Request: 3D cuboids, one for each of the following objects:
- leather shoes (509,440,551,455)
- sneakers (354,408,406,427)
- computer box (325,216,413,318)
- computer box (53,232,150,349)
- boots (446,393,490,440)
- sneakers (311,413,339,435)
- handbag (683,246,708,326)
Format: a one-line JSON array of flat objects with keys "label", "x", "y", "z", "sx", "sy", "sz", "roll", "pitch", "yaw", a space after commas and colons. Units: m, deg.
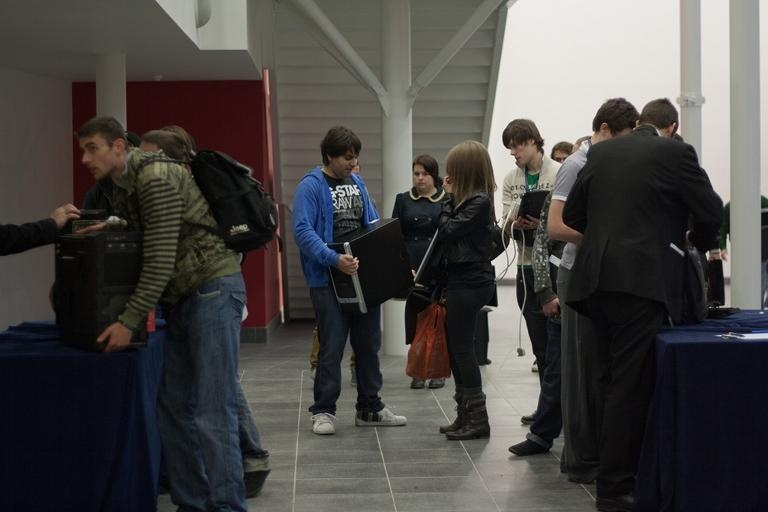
[{"label": "leather shoes", "x": 1.049, "y": 1.401, "z": 5.038, "sx": 0.306, "sy": 0.138, "sz": 0.117, "roll": 3, "pitch": -7, "yaw": -6}, {"label": "sneakers", "x": -0.028, "y": 1.344, "z": 5.801, "sx": 0.429, "sy": 0.186, "sz": 0.166, "roll": 0, "pitch": -6, "yaw": -4}, {"label": "computer box", "x": -0.053, "y": 0.052, "z": 5.693, "sx": 0.388, "sy": 0.687, "sz": 0.763, "roll": -2, "pitch": 9, "yaw": 44}, {"label": "computer box", "x": -1.625, "y": 0.176, "z": 3.958, "sx": 0.600, "sy": 0.600, "sz": 0.412, "roll": 2, "pitch": 1, "yaw": 43}, {"label": "boots", "x": 0.652, "y": 1.257, "z": 5.403, "sx": 0.352, "sy": 0.370, "sz": 0.179, "roll": -4, "pitch": 3, "yaw": -5}, {"label": "sneakers", "x": -0.485, "y": 1.341, "z": 5.536, "sx": 0.189, "sy": 0.147, "sz": 0.196, "roll": 1, "pitch": 4, "yaw": -1}, {"label": "handbag", "x": 1.860, "y": 0.192, "z": 4.164, "sx": 0.131, "sy": 0.397, "sz": 0.281, "roll": 1, "pitch": 0, "yaw": 7}]
